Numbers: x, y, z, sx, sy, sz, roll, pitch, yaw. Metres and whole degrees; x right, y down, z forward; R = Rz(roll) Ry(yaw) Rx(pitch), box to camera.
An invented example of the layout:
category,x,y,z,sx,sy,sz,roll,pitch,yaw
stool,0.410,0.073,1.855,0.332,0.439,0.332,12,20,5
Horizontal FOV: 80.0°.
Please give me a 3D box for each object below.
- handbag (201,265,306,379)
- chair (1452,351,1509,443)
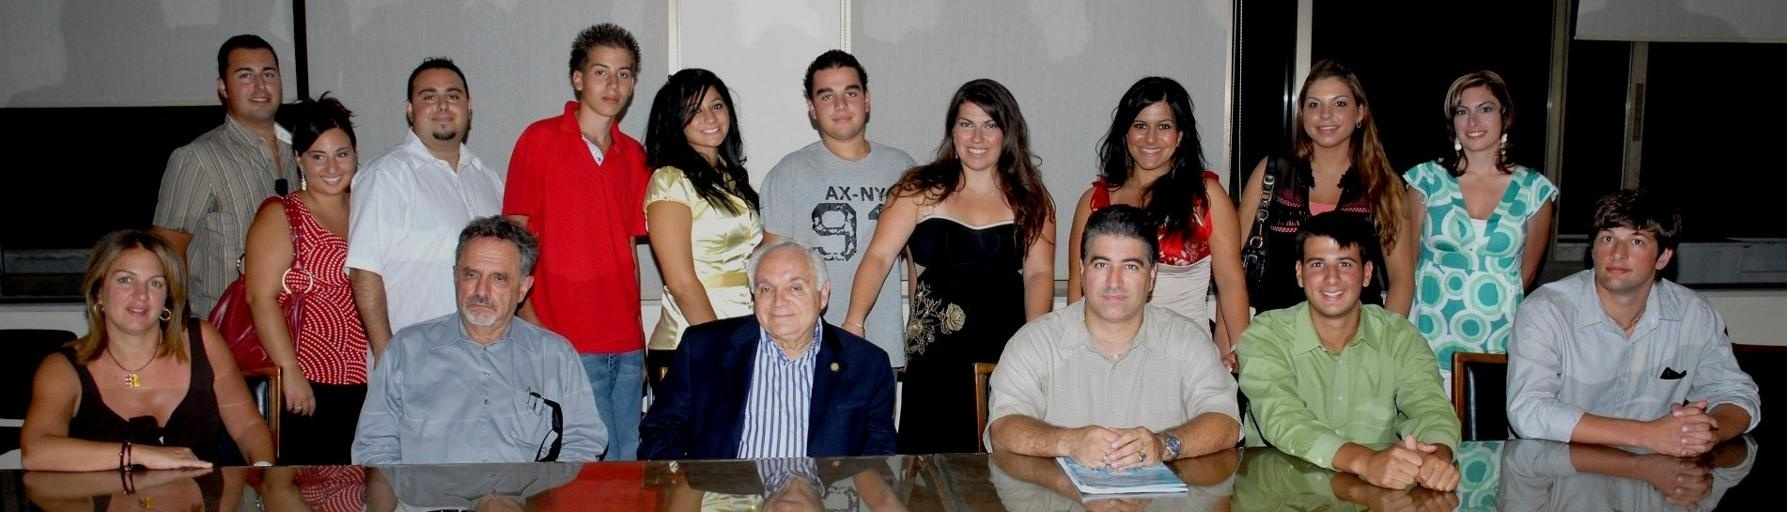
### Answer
category,x,y,z,sx,sy,sz,roll,pitch,yaw
handbag,-7.325,0.737,12.052,1.095,0.991,0.583,1,6,32
chair,6.478,1.494,11.590,0.608,0.909,0.294,-2,6,4
